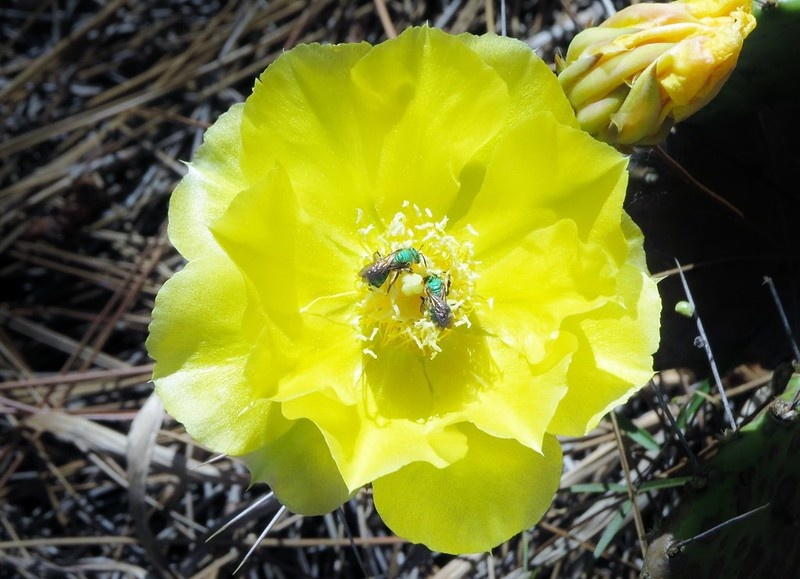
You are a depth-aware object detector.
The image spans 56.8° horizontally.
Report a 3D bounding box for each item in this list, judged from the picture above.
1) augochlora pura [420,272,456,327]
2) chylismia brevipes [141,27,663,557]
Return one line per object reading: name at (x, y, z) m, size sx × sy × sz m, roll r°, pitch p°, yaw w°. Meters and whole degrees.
augochlora pura at (0.060, 0.017, 1.371) m, size 0.063 × 0.090 × 0.028 m, roll -8°, pitch -1°, yaw 4°
chylismia brevipes at (0.017, -0.004, 1.623) m, size 1.009 × 0.978 × 0.741 m, roll -2°, pitch 26°, yaw -3°
